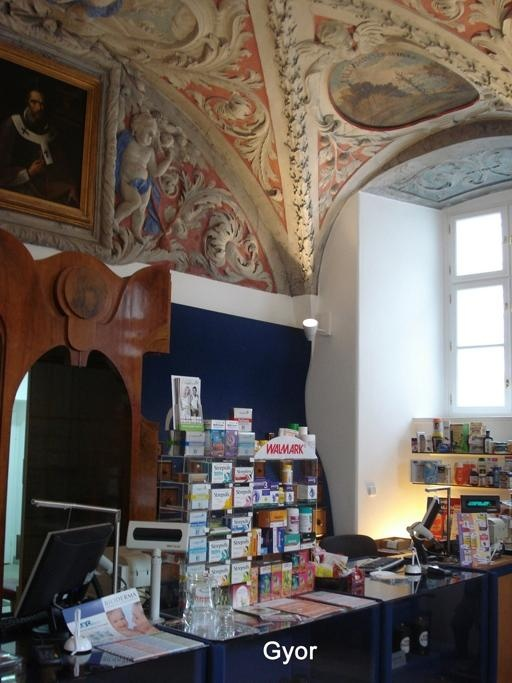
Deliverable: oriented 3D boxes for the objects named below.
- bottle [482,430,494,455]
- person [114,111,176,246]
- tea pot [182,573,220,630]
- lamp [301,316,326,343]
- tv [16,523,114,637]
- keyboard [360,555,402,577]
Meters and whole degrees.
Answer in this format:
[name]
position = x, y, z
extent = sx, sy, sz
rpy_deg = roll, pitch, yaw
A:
[bottle]
position = 1.935, 0.841, 5.185
extent = 0.077, 0.188, 0.198
rpy_deg = -3, -6, 20
[person]
position = -0.848, -1.247, 4.728
extent = 0.190, 0.996, 0.504
rpy_deg = -5, -7, 36
[tea pot]
position = -0.197, 0.890, 2.108
extent = 0.154, 0.174, 0.133
rpy_deg = -2, -6, 16
[lamp]
position = 0.531, -0.106, 5.717
extent = 0.127, 0.133, 0.284
rpy_deg = -4, -12, 29
[tv]
position = -0.658, 0.798, 2.151
extent = 0.254, 0.343, 0.383
rpy_deg = -4, -7, 28
[keyboard]
position = 0.707, 1.261, 3.485
extent = 0.252, 0.061, 0.185
rpy_deg = -1, -2, -35
